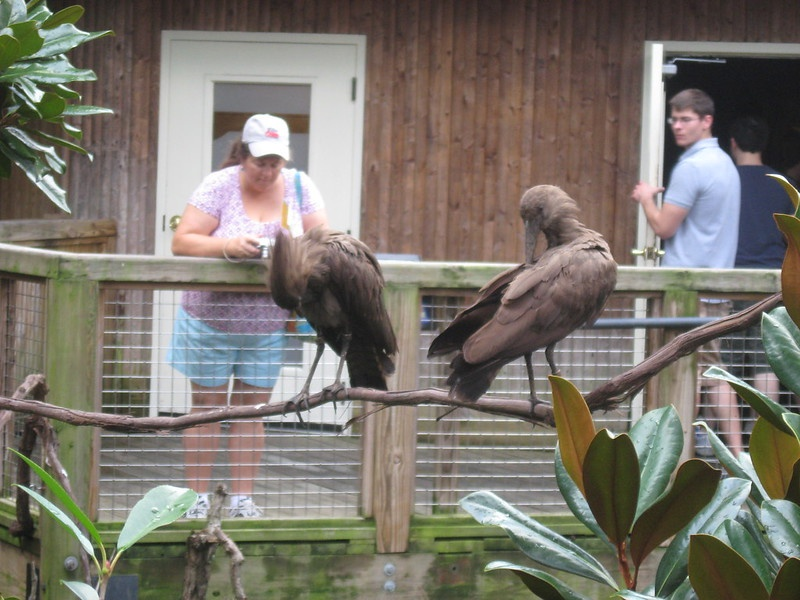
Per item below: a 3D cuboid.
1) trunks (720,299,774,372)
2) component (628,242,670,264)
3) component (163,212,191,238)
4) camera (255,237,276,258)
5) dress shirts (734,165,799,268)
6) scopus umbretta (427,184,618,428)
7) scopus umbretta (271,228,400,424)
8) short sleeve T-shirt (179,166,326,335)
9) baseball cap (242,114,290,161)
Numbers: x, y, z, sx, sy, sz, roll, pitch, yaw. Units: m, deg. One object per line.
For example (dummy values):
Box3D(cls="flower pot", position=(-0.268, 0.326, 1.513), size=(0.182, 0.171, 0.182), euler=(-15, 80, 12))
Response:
Box3D(cls="trunks", position=(2.052, 0.255, 14.216), size=(0.544, 0.381, 0.138), euler=(-1, 0, 40))
Box3D(cls="component", position=(1.633, -0.291, 15.433), size=(0.312, 0.087, 0.164), euler=(-1, -42, 1))
Box3D(cls="component", position=(-1.465, -0.489, 15.691), size=(0.039, 0.169, 0.166), euler=(-5, -3, 26))
Box3D(cls="camera", position=(-0.763, -0.290, 13.462), size=(0.099, 0.131, 0.140), euler=(1, -3, 3))
Box3D(cls="dress shirts", position=(2.335, -0.538, 15.227), size=(0.571, 0.647, 0.156), euler=(11, 3, 3))
Box3D(cls="scopus umbretta", position=(0.677, -0.021, 12.783), size=(1.000, 1.206, 0.579), euler=(0, -1, 4))
Box3D(cls="scopus umbretta", position=(-0.384, 0.062, 13.462), size=(0.579, 0.980, 1.041), euler=(-1, 0, 37))
Box3D(cls="short sleeve T-shirt", position=(-0.855, -0.246, 13.687), size=(0.871, 1.093, 0.581), euler=(3, -4, -11))
Box3D(cls="baseball cap", position=(-0.768, -0.950, 13.899), size=(0.199, 0.161, 0.309), euler=(1, 10, -21))
